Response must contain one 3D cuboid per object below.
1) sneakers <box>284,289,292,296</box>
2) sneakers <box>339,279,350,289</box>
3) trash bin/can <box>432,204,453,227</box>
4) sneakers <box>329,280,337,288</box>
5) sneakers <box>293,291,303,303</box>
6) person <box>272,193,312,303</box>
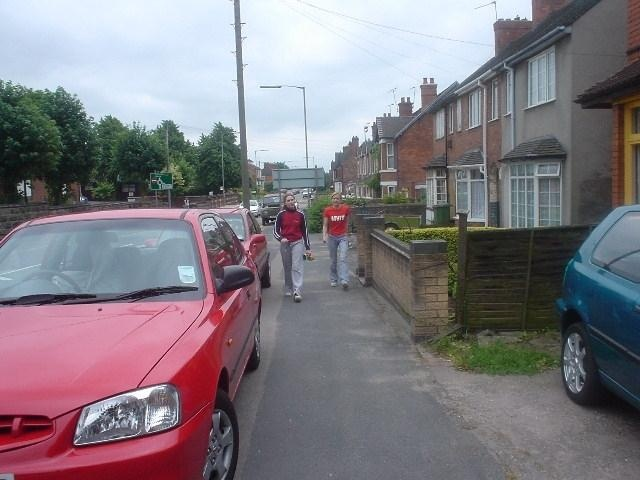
[{"bbox_3d":[-0.663,1.084,10.479,0.116,0.152,0.350,0,-3,1],"label":"sneakers"},{"bbox_3d":[0.519,0.974,11.159,0.097,0.145,0.320,3,-18,0],"label":"sneakers"},{"bbox_3d":[4.925,-1.008,20.924,0.832,1.450,0.898,-1,0,-4],"label":"trash bin/can"},{"bbox_3d":[0.289,0.992,11.515,0.123,0.161,0.342,0,-4,0],"label":"sneakers"},{"bbox_3d":[-0.452,1.121,9.991,0.151,0.231,0.486,0,-5,-4],"label":"sneakers"},{"bbox_3d":[-0.530,0.144,10.218,0.640,2.092,0.771,-6,8,-37],"label":"person"}]
